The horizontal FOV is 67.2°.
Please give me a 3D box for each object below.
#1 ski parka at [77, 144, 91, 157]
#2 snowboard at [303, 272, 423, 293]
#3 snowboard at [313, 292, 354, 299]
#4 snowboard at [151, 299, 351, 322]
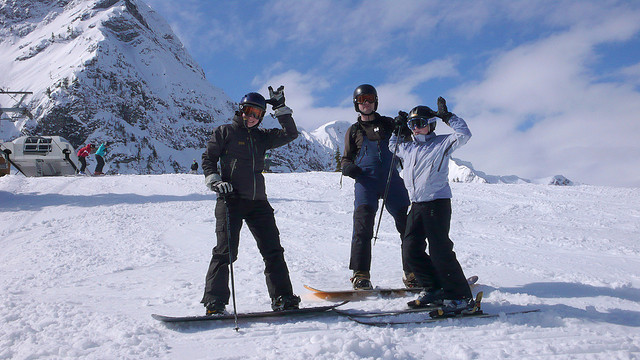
[{"bbox_3d":[-12.748,-1.529,26.128,0.873,0.430,0.559,-24,0,35],"label":"ski parka"},{"bbox_3d":[1.088,2.480,11.684,2.658,0.440,0.442,-3,14,-3],"label":"snowboard"},{"bbox_3d":[0.321,2.758,11.547,0.898,0.134,0.137,-2,14,1],"label":"snowboard"},{"bbox_3d":[-1.522,2.997,10.665,4.108,0.190,0.445,-2,-1,-9],"label":"snowboard"}]
